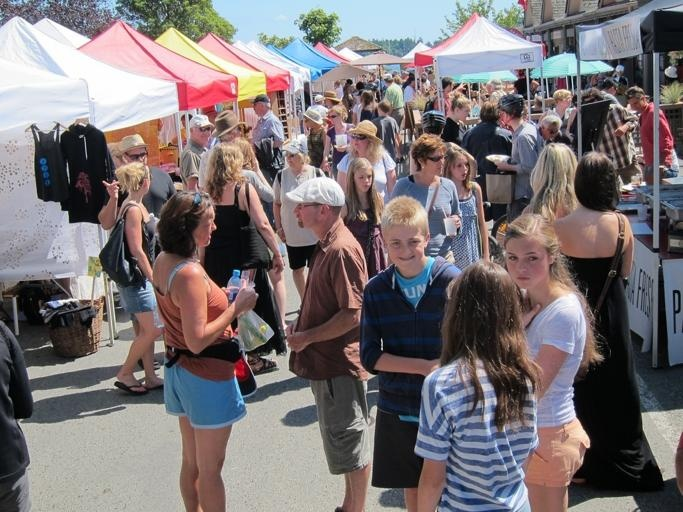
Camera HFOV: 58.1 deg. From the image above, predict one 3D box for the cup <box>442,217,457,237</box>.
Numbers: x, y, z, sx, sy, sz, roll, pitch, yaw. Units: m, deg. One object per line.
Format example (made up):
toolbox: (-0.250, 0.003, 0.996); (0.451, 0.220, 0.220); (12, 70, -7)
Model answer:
cup: (0.988, -0.255, 5.577); (0.136, 0.160, 0.141); (-4, -3, 0)

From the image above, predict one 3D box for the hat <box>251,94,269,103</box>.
hat: (-1.467, -2.880, 11.344); (0.273, 0.149, 0.200); (17, 7, -12)

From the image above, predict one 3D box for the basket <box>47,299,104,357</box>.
basket: (-3.088, 0.791, 7.324); (0.547, 0.684, 0.670); (0, 8, 14)

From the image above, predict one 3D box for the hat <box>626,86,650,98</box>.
hat: (5.180, -2.828, 10.630); (0.280, 0.129, 0.292); (-11, 26, -21)

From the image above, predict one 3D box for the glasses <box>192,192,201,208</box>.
glasses: (-0.915, -0.359, 3.907); (0.024, 0.059, 0.070); (8, -18, -12)

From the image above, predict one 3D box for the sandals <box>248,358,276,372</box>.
sandals: (-0.834, 1.157, 6.645); (0.351, 0.163, 0.121); (-4, 9, -12)

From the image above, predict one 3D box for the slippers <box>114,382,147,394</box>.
slippers: (-2.137, 1.319, 6.257); (0.287, 0.084, 0.137); (19, 2, 2)

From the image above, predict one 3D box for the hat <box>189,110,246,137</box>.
hat: (-1.760, -1.921, 8.854); (0.490, 0.188, 0.544); (-26, 8, 2)

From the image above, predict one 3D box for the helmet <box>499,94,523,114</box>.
helmet: (2.261, -2.001, 8.128); (0.217, 0.214, 0.265); (17, 35, 41)

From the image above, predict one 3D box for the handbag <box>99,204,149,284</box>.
handbag: (-2.169, -0.065, 6.135); (0.402, 0.770, 0.576); (-1, 9, -11)

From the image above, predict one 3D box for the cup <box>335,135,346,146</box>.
cup: (-0.001, -1.712, 9.167); (0.136, 0.157, 0.151); (-3, 1, -37)

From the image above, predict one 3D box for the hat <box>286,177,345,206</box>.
hat: (-0.151, -0.416, 4.071); (0.283, 0.134, 0.209); (6, 4, -5)

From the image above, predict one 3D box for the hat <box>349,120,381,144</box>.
hat: (0.328, -1.511, 7.211); (0.317, 0.131, 0.284); (28, -5, -23)
